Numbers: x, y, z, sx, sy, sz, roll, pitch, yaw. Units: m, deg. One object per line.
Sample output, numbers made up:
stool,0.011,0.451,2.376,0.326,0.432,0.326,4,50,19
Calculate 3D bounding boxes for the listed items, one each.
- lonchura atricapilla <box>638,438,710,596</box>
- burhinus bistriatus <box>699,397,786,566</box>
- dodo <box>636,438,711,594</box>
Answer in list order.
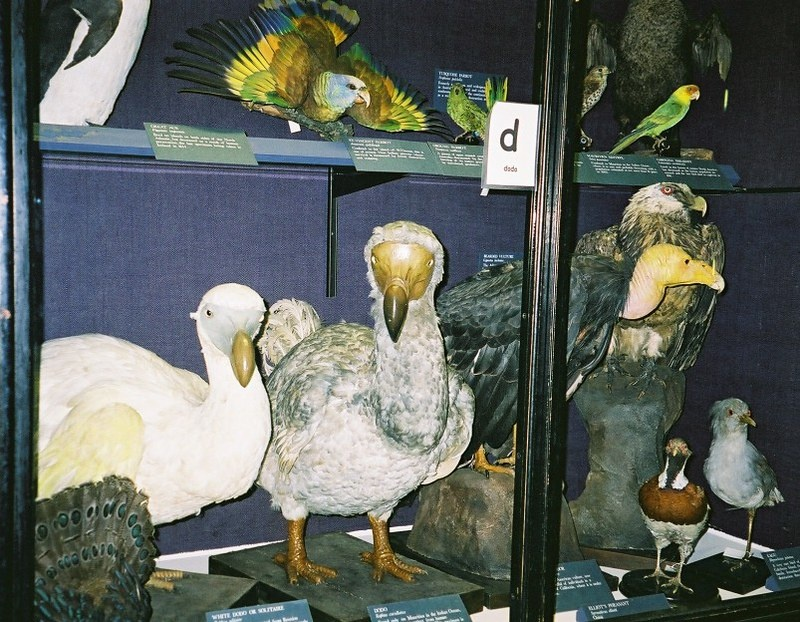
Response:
lonchura atricapilla,0.644,0.462,2.654,0.170,0.355,0.245,4,10,24
burhinus bistriatus,0.822,0.399,2.741,0.184,0.365,0.238,9,17,31
dodo,0.638,0.450,2.620,0.175,0.351,0.252,4,10,24
